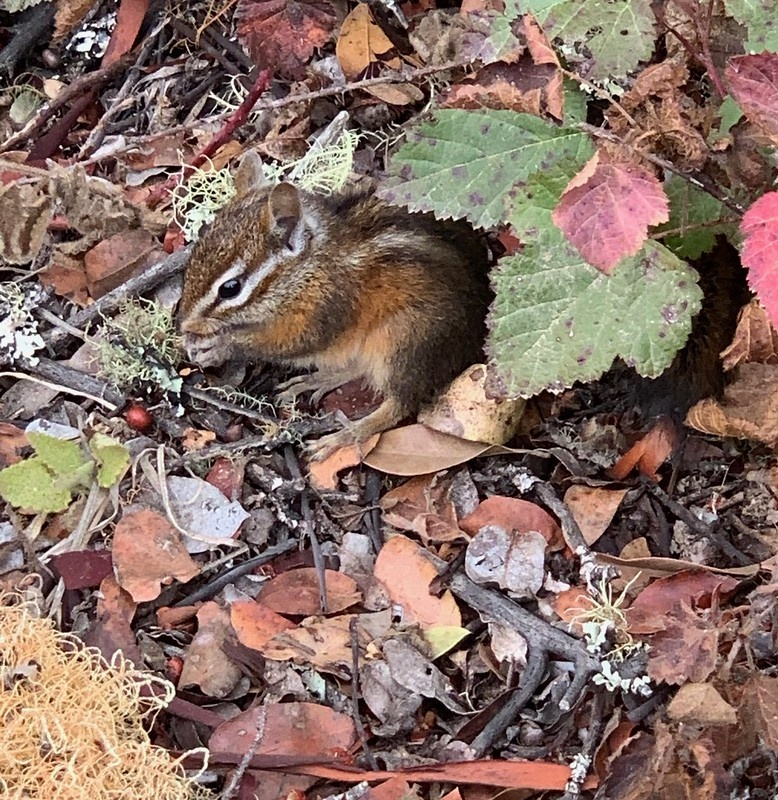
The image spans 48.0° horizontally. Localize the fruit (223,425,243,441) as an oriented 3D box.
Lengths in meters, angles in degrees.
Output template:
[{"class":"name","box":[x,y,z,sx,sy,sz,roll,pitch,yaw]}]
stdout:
[{"class":"fruit","box":[-0.661,0.144,3.734,0.067,0.031,0.066,-5,73,1]}]
